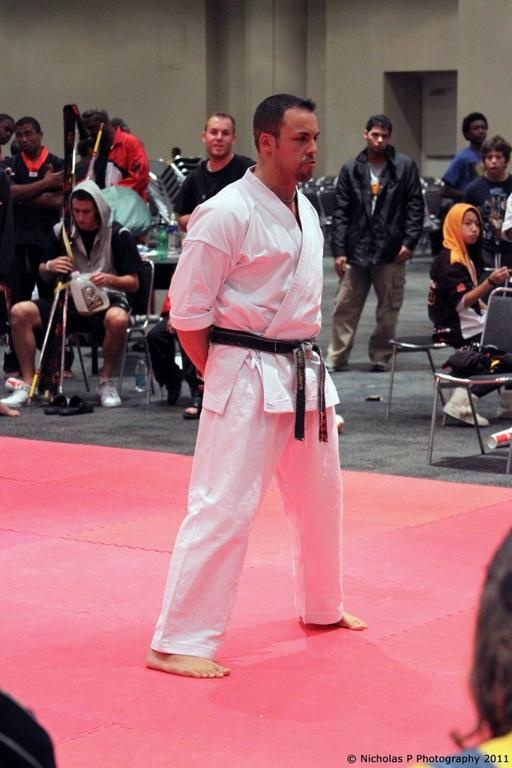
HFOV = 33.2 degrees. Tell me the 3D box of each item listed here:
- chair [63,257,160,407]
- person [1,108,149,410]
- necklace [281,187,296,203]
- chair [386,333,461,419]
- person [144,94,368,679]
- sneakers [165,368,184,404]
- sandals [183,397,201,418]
[{"bbox_3d":[-1.265,-0.480,7.651,0.944,1.168,0.749,-10,8,-16],"label":"chair"},{"bbox_3d":[-1.486,-1.020,6.980,1.045,2.432,0.495,1,10,11],"label":"person"},{"bbox_3d":[0.095,-0.556,2.565,0.051,0.044,0.060,-3,-2,-3],"label":"necklace"},{"bbox_3d":[1.326,-0.050,6.886,0.613,0.710,0.794,3,9,39],"label":"chair"},{"bbox_3d":[-0.013,0.105,2.587,0.317,1.459,0.649,9,13,43],"label":"person"},{"bbox_3d":[-0.694,0.027,7.247,0.119,0.323,0.147,12,11,29],"label":"sneakers"},{"bbox_3d":[-0.501,0.205,6.809,0.117,0.181,0.313,-1,-8,12],"label":"sandals"}]
